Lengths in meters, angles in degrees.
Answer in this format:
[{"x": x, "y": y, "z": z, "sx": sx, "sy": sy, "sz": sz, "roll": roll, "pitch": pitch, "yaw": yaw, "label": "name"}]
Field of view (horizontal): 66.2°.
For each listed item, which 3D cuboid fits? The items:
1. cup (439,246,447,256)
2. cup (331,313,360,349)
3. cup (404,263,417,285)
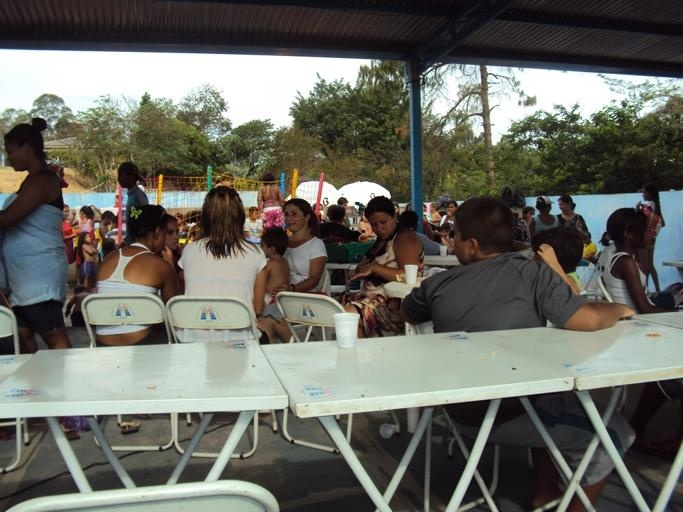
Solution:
[{"x": 1.310, "y": -0.082, "z": 6.658, "sx": 0.099, "sy": 0.117, "sz": 0.106, "roll": -1, "pitch": 0, "yaw": 0, "label": "cup"}, {"x": 0.010, "y": 0.297, "z": 2.138, "sx": 0.117, "sy": 0.127, "sz": 0.127, "roll": -1, "pitch": -2, "yaw": 0, "label": "cup"}, {"x": 0.462, "y": 0.115, "z": 3.516, "sx": 0.079, "sy": 0.118, "sz": 0.123, "roll": -1, "pitch": 2, "yaw": -4, "label": "cup"}]
